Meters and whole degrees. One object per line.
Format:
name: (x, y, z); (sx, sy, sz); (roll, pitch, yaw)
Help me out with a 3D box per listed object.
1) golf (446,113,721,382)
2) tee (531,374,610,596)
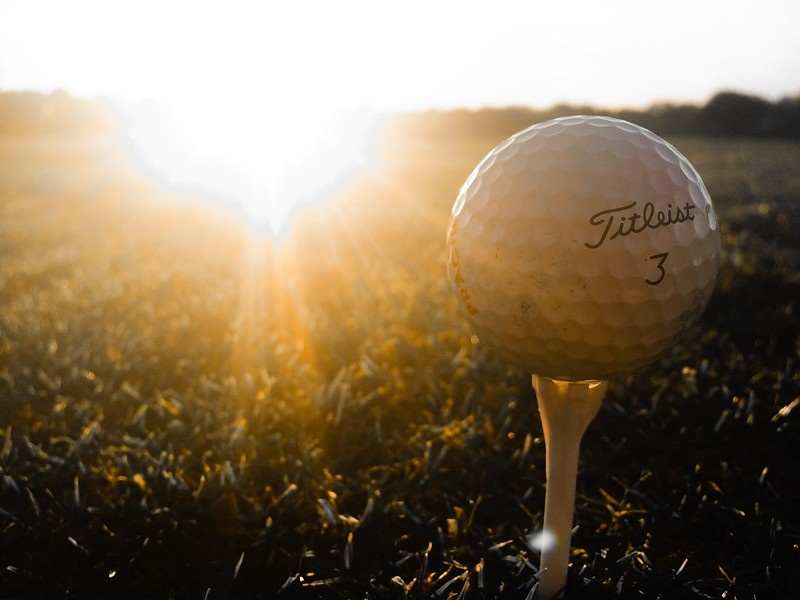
golf: (0.749, -0.216, 3.403); (1.031, 1.189, 1.082); (-2, -1, -3)
tee: (0.645, 0.769, 3.076); (0.292, 0.836, 0.453); (6, -24, 15)
